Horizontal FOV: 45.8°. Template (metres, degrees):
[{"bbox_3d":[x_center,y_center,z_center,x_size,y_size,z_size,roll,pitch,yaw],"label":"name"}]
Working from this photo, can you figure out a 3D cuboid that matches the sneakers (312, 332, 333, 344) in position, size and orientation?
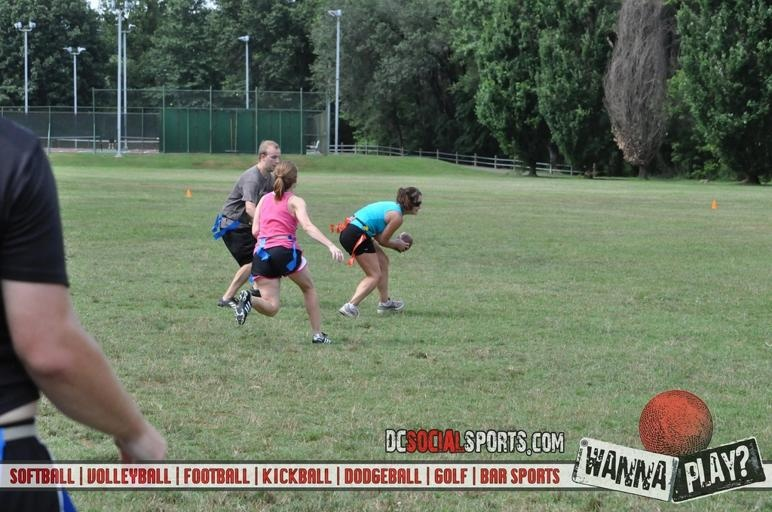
[{"bbox_3d":[-0.694,0.902,9.970,0.244,0.114,0.088,2,6,-25],"label":"sneakers"}]

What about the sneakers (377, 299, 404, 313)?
[{"bbox_3d":[0.055,0.636,11.636,0.335,0.162,0.139,-4,7,-5],"label":"sneakers"}]

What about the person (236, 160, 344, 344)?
[{"bbox_3d":[-1.098,-0.055,9.942,1.089,1.958,1.287,-1,7,-10],"label":"person"}]

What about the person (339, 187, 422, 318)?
[{"bbox_3d":[-0.102,-0.080,11.598,1.016,1.616,1.383,1,8,2],"label":"person"}]

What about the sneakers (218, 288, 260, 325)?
[{"bbox_3d":[-1.714,0.603,10.646,0.149,0.413,0.190,47,3,43],"label":"sneakers"}]
